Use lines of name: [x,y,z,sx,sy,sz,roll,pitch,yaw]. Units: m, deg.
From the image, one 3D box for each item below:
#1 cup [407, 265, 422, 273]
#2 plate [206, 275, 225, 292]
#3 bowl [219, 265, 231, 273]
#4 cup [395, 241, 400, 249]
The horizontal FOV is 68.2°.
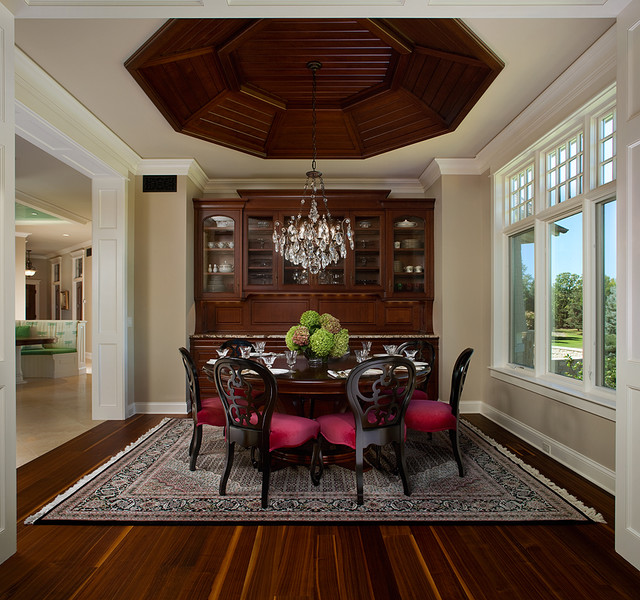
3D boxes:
cup: [1.157,-0.378,5.762,0.148,0.042,0.097,1,-2,-5]
plate: [-1.285,-0.193,5.693,0.209,0.192,0.195,0,-5,3]
bowl: [-1.168,-0.388,5.755,0.119,0.095,0.110,0,-6,0]
cup: [0.951,-0.673,5.805,0.086,0.070,0.080,0,-2,0]
